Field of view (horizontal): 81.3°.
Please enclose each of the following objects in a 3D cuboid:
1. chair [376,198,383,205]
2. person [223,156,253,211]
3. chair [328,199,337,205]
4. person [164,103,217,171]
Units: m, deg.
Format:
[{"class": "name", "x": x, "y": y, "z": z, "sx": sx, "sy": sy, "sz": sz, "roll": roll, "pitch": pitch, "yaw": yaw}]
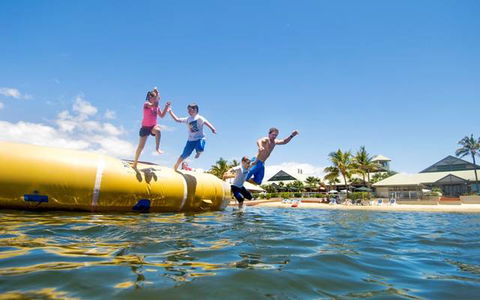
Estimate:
[{"class": "chair", "x": 11.625, "y": 4.310, "z": 23.241, "sx": 0.851, "sy": 0.475, "sz": 0.436, "roll": -1, "pitch": 6, "yaw": -36}, {"class": "person", "x": -0.059, "y": 0.843, "z": 7.695, "sx": 0.824, "sy": 1.174, "sz": 1.126, "roll": 4, "pitch": -10, "yaw": -2}, {"class": "chair", "x": 7.979, "y": 4.461, "z": 24.168, "sx": 0.628, "sy": 0.544, "sz": 0.834, "roll": -7, "pitch": -11, "yaw": 26}, {"class": "person", "x": -1.243, "y": -0.456, "z": 7.174, "sx": 0.719, "sy": 1.425, "sz": 0.874, "roll": 13, "pitch": -14, "yaw": -42}]
